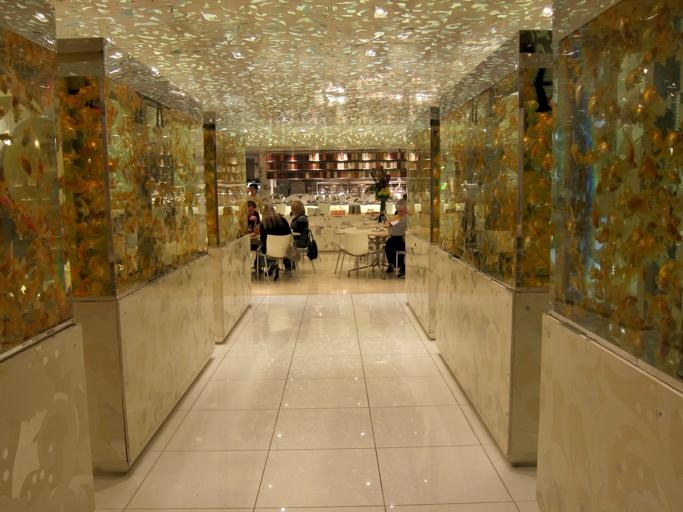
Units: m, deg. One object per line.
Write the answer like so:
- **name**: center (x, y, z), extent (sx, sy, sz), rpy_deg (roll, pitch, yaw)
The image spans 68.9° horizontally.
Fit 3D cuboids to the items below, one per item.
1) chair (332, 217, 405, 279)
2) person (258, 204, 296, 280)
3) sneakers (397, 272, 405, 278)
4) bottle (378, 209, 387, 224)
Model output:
- **chair**: center (0.800, -0.137, 9.508), extent (1.133, 0.627, 1.215), rpy_deg (3, 11, 20)
- **person**: center (-1.196, -0.256, 8.878), extent (0.592, 1.346, 0.923), rpy_deg (-2, 8, -10)
- **sneakers**: center (1.073, 0.316, 9.013), extent (0.133, 0.094, 0.365), rpy_deg (-1, 9, 2)
- **bottle**: center (0.939, -0.922, 11.426), extent (0.276, 0.382, 0.293), rpy_deg (1, 10, 0)
